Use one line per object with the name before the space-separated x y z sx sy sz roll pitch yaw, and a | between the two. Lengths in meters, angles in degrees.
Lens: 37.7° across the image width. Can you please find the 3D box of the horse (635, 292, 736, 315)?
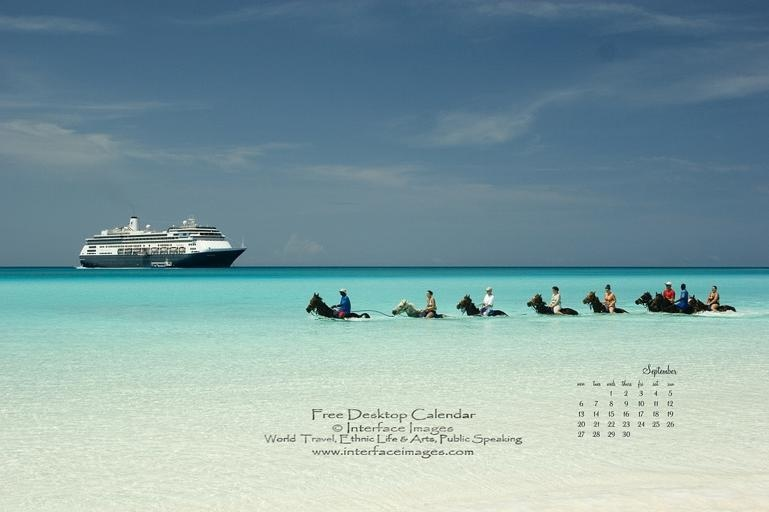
horse | 16.141 2.879 61.935 5.376 1.222 3.382 4 8 0

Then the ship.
ship | -38.658 -2.465 198.503 39.909 8.496 9.429 -1 2 42

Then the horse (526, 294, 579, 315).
horse | 9.292 2.663 61.566 2.379 1.538 2.479 4 13 14
